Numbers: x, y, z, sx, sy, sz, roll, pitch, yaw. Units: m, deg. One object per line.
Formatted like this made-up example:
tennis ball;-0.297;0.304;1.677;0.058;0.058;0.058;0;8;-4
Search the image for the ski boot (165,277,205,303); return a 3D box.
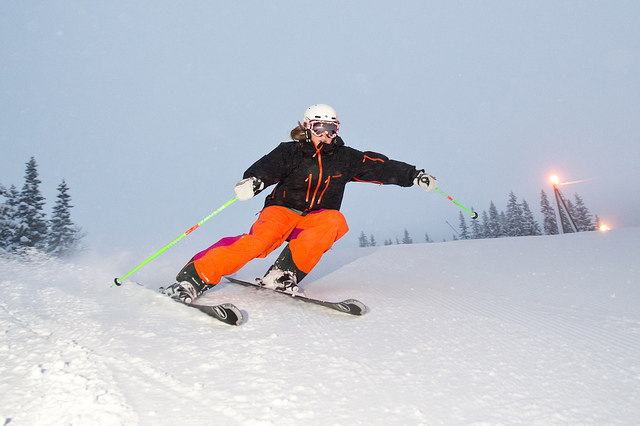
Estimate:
ski boot;-1.353;0.765;4.732;0.324;0.191;0.123;-6;-42;-37
